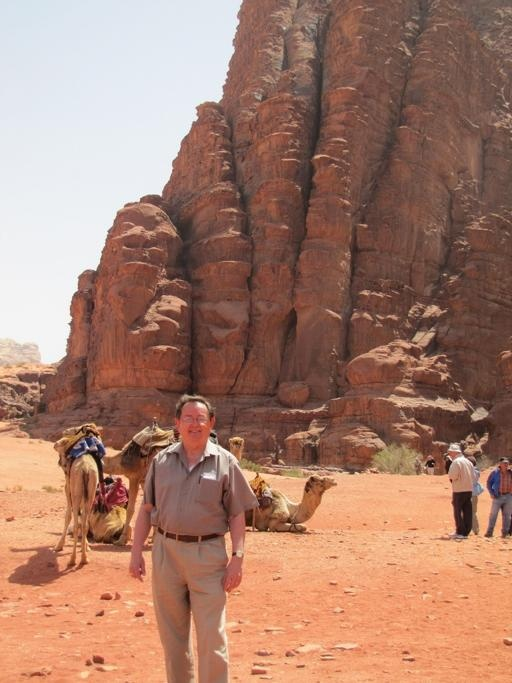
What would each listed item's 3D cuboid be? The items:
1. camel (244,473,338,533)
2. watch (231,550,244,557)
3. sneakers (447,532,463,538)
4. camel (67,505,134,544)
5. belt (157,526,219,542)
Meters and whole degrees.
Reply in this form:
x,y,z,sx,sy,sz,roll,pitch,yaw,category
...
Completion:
x,y,z,sx,sy,sz,roll,pitch,yaw,category
0.641,2.676,13.749,1.567,0.882,1.414,-4,0,-25,camel
-0.114,1.376,5.514,0.057,0.036,0.057,0,-1,7,watch
2.951,2.882,12.728,0.200,0.082,0.074,-8,-9,34,sneakers
-2.115,2.527,11.885,0.807,0.436,0.742,-3,3,-37,camel
-0.411,1.274,5.556,0.362,0.057,0.114,2,-8,0,belt
